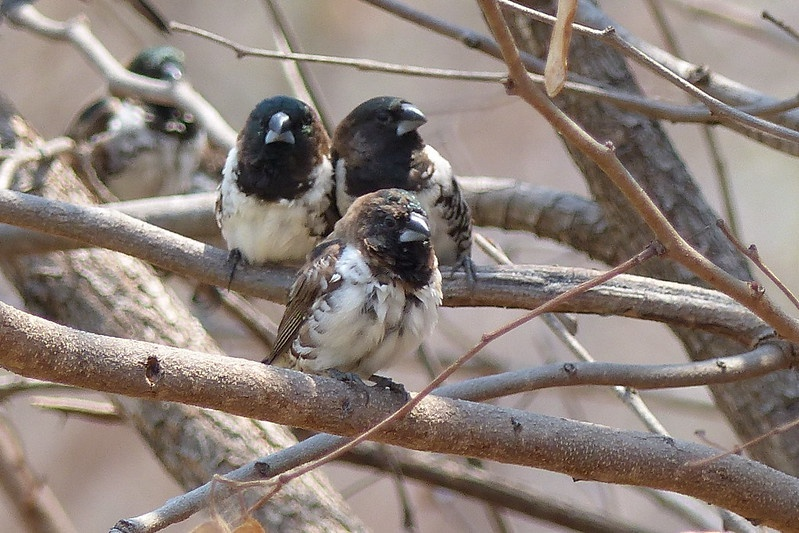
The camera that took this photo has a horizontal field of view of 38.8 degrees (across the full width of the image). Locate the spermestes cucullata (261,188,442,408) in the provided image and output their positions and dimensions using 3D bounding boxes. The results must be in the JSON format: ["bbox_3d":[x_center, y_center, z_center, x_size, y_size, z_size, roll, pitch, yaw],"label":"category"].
[{"bbox_3d":[-0.205,0.126,5.768,0.801,0.962,0.548,-9,-51,18],"label":"spermestes cucullata"}]
